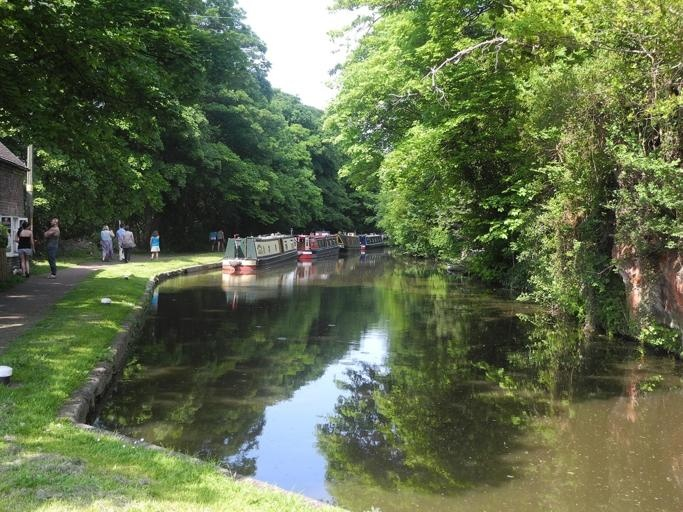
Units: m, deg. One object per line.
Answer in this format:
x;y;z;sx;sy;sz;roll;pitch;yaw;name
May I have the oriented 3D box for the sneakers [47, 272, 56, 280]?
-9.821;0.704;18.936;0.488;0.239;0.165;7;10;29;sneakers
